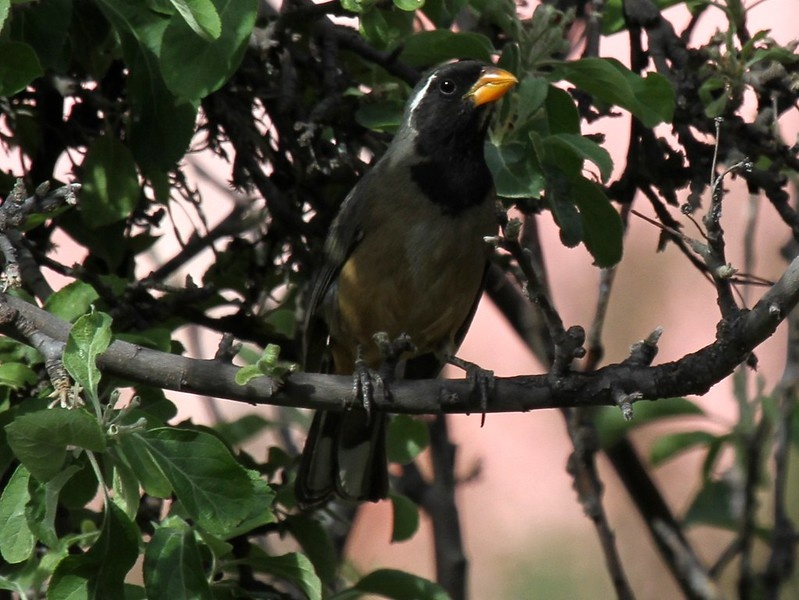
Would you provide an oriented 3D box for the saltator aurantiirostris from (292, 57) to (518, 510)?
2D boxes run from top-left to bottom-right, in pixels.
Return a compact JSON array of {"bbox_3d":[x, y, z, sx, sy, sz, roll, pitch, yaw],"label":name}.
[{"bbox_3d":[-0.006,0.117,3.521,0.538,1.015,1.593,10,-47,-21],"label":"saltator aurantiirostris"}]
